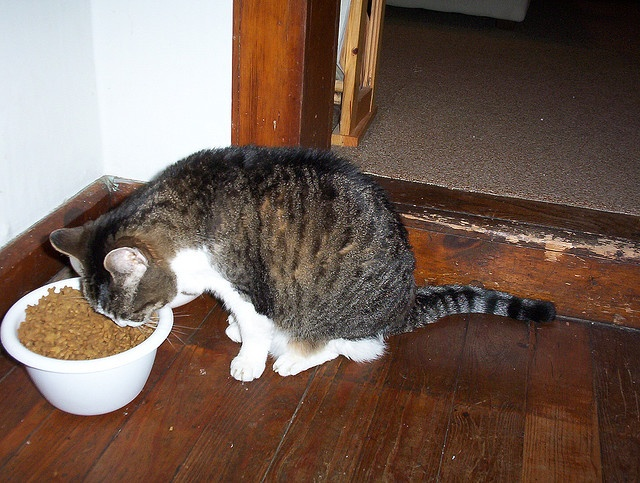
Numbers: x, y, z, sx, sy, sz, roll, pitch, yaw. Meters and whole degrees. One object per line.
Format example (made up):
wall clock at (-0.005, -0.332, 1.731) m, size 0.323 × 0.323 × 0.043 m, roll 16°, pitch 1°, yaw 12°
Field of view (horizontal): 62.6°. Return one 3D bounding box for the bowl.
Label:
bowl at (-0.689, 0.323, 1.519) m, size 0.362 × 0.221 × 0.388 m, roll 8°, pitch 30°, yaw -5°

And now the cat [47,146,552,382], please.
cat at (-0.220, 0.081, 1.696) m, size 1.018 × 0.629 × 0.466 m, roll 6°, pitch 38°, yaw 4°
